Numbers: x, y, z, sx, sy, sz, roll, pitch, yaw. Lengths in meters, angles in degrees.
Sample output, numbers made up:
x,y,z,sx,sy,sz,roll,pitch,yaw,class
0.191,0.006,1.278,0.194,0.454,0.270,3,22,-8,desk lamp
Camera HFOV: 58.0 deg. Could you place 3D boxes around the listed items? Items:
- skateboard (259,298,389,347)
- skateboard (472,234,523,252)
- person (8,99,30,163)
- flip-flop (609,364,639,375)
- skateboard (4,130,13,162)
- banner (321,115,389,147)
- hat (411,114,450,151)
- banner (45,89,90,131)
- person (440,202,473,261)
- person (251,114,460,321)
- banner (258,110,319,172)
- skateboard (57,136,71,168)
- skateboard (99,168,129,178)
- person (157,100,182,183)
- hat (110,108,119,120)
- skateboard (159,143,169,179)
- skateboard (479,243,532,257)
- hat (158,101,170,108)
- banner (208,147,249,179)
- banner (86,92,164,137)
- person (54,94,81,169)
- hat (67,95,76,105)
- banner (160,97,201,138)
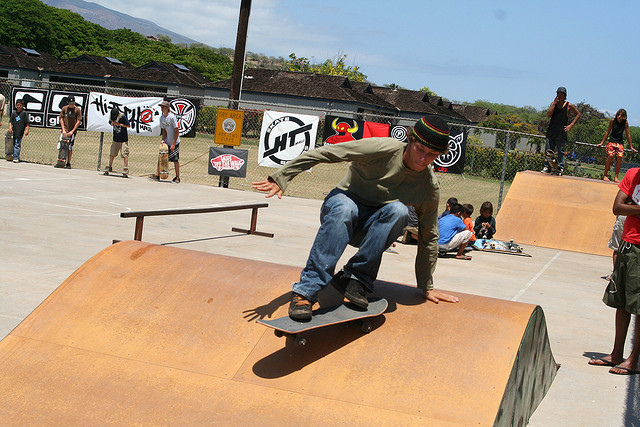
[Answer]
x,y,z,sx,sy,sz,roll,pitch,yaw,class
0.078,0.797,4.620,1.460,0.236,0.356,-1,17,-35,skateboard
3.400,0.605,11.165,0.784,0.124,0.384,8,22,0,skateboard
-8.808,-2.390,16.946,0.504,1.825,0.993,3,12,-28,person
3.068,1.570,5.832,0.296,0.065,0.100,6,-8,2,flip-flop
-9.100,-1.955,16.958,0.191,0.879,0.261,4,12,-26,skateboard
0.838,-2.033,14.682,1.646,0.722,0.526,13,12,26,banner
0.971,-0.701,4.962,0.329,0.288,0.193,30,59,30,hat
-7.524,-3.054,17.172,1.599,1.195,0.667,18,14,42,banner
2.311,0.271,10.194,0.631,0.891,0.677,2,10,-16,person
0.435,-0.058,4.954,1.559,1.640,0.724,3,13,-28,person
-0.888,-1.898,15.207,1.556,1.480,0.317,11,11,16,banner
-7.391,-1.769,16.709,0.293,0.910,0.311,1,13,-35,skateboard
-5.918,-1.114,16.695,0.430,0.266,1.559,35,-12,-32,skateboard
-4.034,-1.915,15.657,0.704,2.156,0.445,6,12,-16,person
-5.642,-2.733,15.931,0.192,0.298,0.291,3,12,-28,hat
-4.270,-1.435,15.824,0.265,1.016,0.469,6,11,-16,skateboard
3.615,0.619,11.125,0.858,0.115,0.296,8,11,9,skateboard
-4.190,-2.964,15.627,0.391,0.113,0.372,3,4,-2,hat
-2.535,-1.411,16.013,1.175,0.808,0.147,7,-1,2,banner
-5.579,-2.836,16.600,2.750,1.481,0.147,8,-12,7,banner
-7.249,-2.342,16.667,0.600,2.157,1.092,4,12,-24,person
-7.090,-3.246,16.500,0.189,0.258,0.518,4,11,-23,hat
-3.867,-2.664,15.891,1.262,1.177,0.081,8,14,19,banner
